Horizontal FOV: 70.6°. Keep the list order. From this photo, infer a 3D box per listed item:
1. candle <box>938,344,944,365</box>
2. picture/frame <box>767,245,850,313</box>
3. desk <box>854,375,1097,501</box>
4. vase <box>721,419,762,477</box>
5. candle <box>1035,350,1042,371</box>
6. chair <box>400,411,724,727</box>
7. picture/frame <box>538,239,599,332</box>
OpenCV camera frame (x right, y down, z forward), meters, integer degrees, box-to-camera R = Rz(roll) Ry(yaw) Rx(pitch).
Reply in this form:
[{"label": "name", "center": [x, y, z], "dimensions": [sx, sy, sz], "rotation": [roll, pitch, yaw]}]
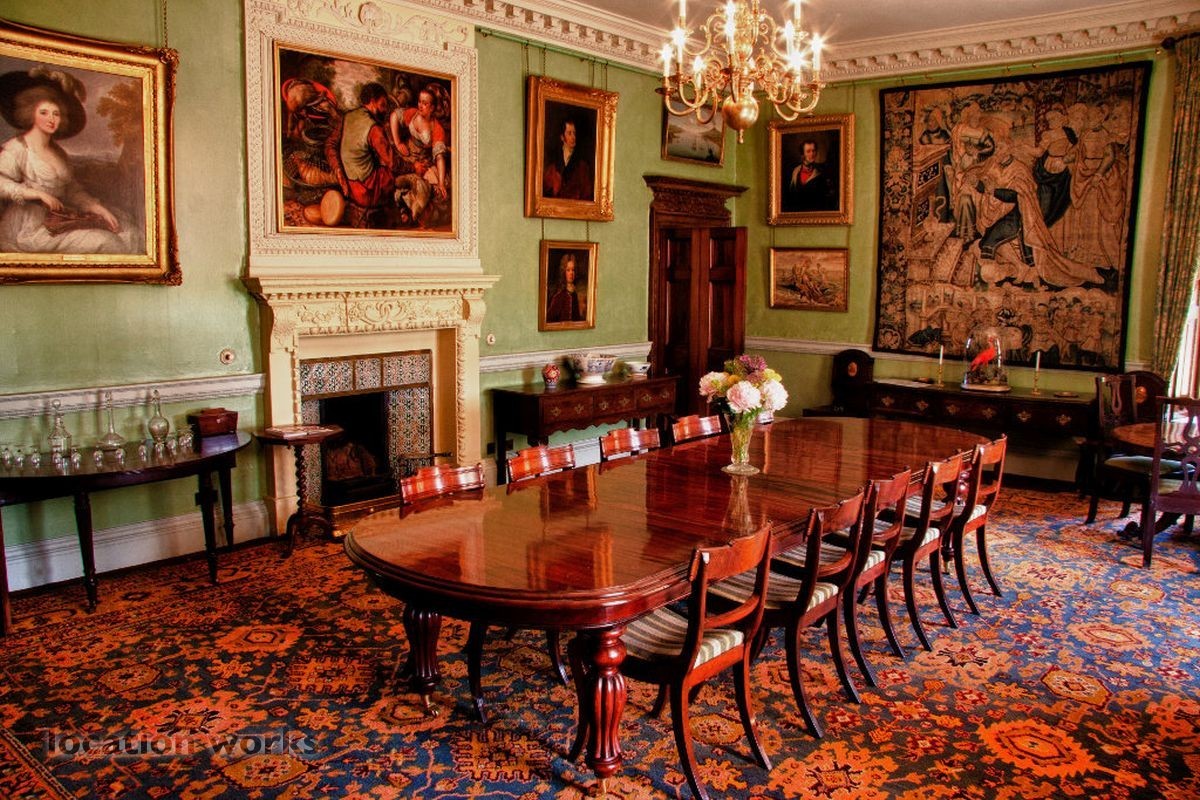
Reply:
[{"label": "candle", "center": [3.848, -0.507, 9.577], "dimensions": [0.075, 0.208, 0.106], "rotation": [1, 8, 24]}, {"label": "picture/frame", "center": [2.580, -1.481, 10.327], "dimensions": [0.838, 0.660, 0.065], "rotation": [7, 13, 34]}, {"label": "desk", "center": [4.186, 0.312, 9.410], "dimensions": [2.234, 0.981, 0.661], "rotation": [5, 21, 32]}, {"label": "vase", "center": [0.986, 0.317, 5.793], "dimensions": [0.344, 0.381, 0.337], "rotation": [3, 6, 34]}, {"label": "candle", "center": [4.691, -0.405, 9.070], "dimensions": [0.067, 0.223, 0.095], "rotation": [0, 8, 21]}, {"label": "chair", "center": [-0.211, 1.056, 5.014], "dimensions": [0.505, 0.830, 1.779], "rotation": [3, 8, 30]}, {"label": "picture/frame", "center": [-0.364, -1.233, 8.979], "dimensions": [0.112, 1.091, 0.967], "rotation": [7, 10, 42]}]
